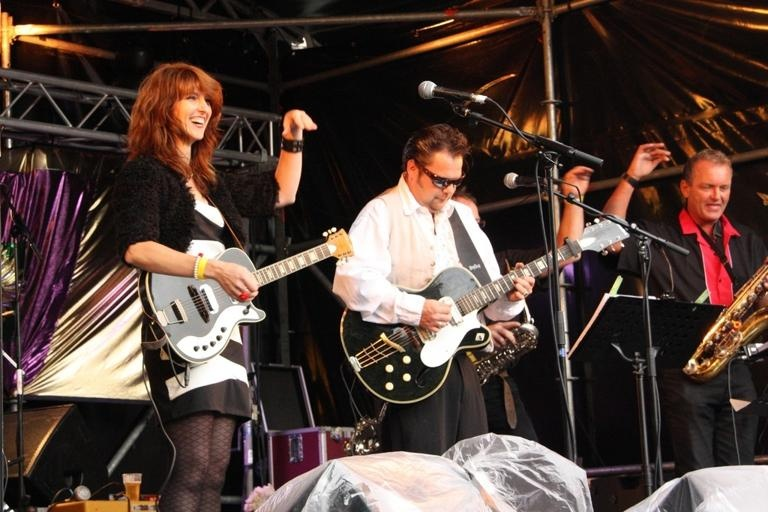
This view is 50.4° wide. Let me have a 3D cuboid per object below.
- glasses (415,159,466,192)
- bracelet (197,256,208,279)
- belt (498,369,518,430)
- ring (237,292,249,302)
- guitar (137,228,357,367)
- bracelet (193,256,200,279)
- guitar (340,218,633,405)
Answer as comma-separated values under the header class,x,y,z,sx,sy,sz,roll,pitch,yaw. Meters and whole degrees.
class,x,y,z,sx,sy,sz,roll,pitch,yaw
glasses,0.357,-0.540,5.353,0.068,0.221,0.222,-52,-22,19
bracelet,-0.957,0.048,4.366,0.040,0.092,0.079,5,-15,2
belt,0.942,1.098,6.191,0.085,0.567,0.087,-19,-34,21
ring,-0.770,0.222,4.467,0.047,0.047,0.016,-5,19,-4
guitar,-0.732,0.108,4.752,1.395,0.582,0.157,-28,8,-34
bracelet,-0.996,0.064,4.365,0.025,0.084,0.076,8,-37,-5
guitar,0.762,0.385,5.742,1.614,0.594,0.222,-20,-7,-17
